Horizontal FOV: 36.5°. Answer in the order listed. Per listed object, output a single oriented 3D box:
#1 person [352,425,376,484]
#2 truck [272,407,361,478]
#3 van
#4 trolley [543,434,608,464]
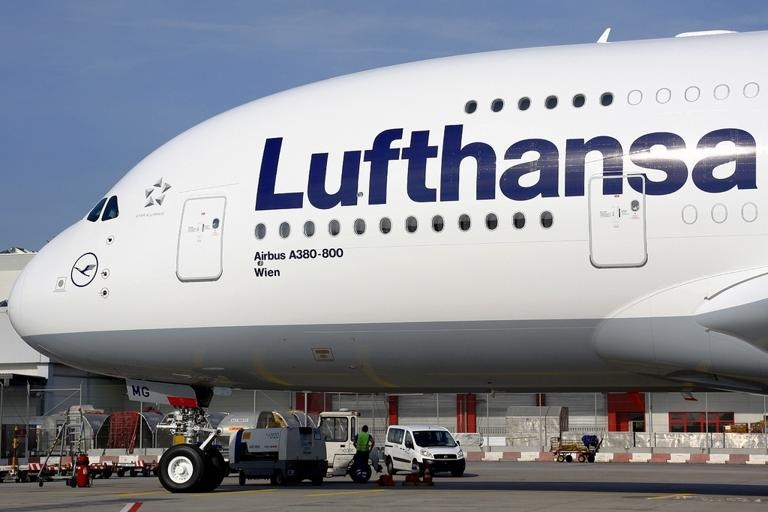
[{"bbox_3d":[-0.672,5.617,32.707,0.491,1.556,1.203,0,-10,-2],"label":"person"},{"bbox_3d":[-1.860,5.896,36.443,1.949,2.076,6.662,0,-9,-3],"label":"truck"},{"bbox_3d":[1.112,6.042,35.921,1.387,1.008,2.375,3,-13,-22],"label":"van"},{"bbox_3d":[7.244,7.495,44.890,1.722,0.899,1.006,-4,-4,16],"label":"trolley"}]
